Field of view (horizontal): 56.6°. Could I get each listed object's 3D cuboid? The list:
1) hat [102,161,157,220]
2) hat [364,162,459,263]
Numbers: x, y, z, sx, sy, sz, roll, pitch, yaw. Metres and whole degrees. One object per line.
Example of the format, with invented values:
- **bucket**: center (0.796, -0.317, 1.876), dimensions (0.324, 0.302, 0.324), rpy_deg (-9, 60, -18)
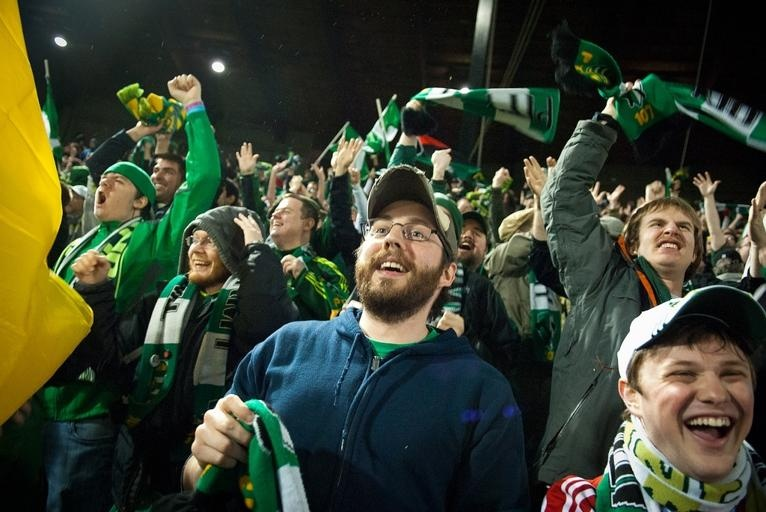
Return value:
- **hat**: center (-2.385, -0.662, 6.680), dimensions (0.419, 0.540, 0.274), rpy_deg (-11, -8, -38)
- **hat**: center (0.079, -0.301, 4.578), dimensions (0.537, 0.155, 0.565), rpy_deg (3, -30, 25)
